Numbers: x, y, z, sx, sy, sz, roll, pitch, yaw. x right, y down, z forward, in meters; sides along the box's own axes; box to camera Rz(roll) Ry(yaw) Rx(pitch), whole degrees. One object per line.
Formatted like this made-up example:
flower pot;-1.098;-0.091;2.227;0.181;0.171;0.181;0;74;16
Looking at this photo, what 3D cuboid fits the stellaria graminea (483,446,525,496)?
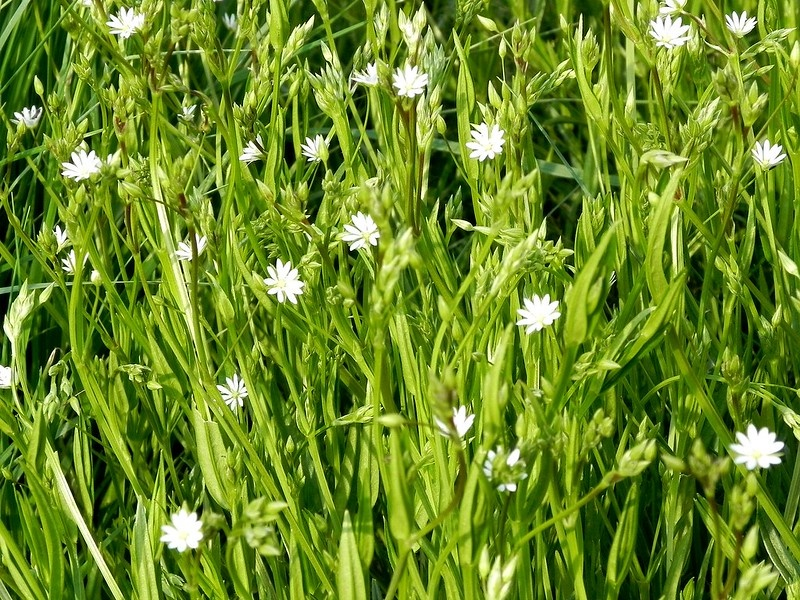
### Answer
stellaria graminea;0.189;0.320;1.766;0.063;0.100;0.038;13;3;38
